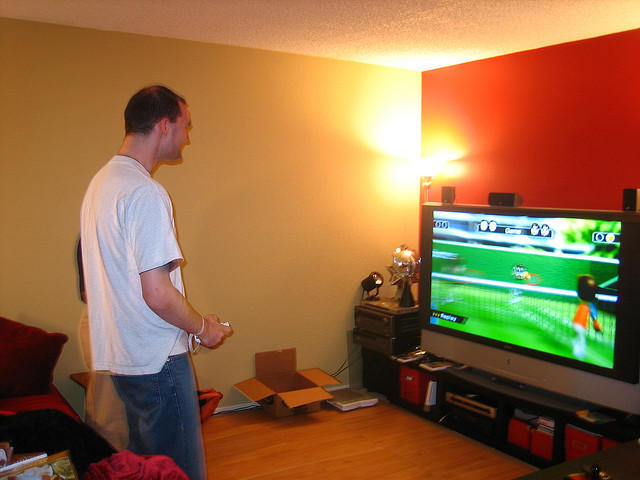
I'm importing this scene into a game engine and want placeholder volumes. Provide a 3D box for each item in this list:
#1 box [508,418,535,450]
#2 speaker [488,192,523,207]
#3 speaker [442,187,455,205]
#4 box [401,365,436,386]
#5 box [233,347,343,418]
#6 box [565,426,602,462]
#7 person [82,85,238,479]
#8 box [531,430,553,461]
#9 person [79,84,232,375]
[{"bbox_3d":[1.406,1.352,3.496,0.122,0.154,0.162,14,-6,-34],"label":"box"},{"bbox_3d":[1.340,-0.271,3.602,0.144,0.072,0.139,-2,3,-39],"label":"speaker"},{"bbox_3d":[1.005,-0.350,3.961,0.092,0.125,0.113,1,8,13],"label":"speaker"},{"bbox_3d":[0.774,1.127,4.145,0.183,0.108,0.180,-1,2,-42],"label":"box"},{"bbox_3d":[-0.247,1.197,4.128,0.826,0.368,0.657,0,8,-24],"label":"box"},{"bbox_3d":[1.639,1.315,3.184,0.203,0.186,0.161,5,-15,36],"label":"box"},{"bbox_3d":[-0.714,0.182,2.227,0.523,1.702,0.490,6,11,37],"label":"person"},{"bbox_3d":[1.507,1.368,3.362,0.170,0.151,0.138,8,-2,42],"label":"box"},{"bbox_3d":[-0.764,-0.046,2.140,0.460,1.238,0.412,-4,9,-24],"label":"person"}]
